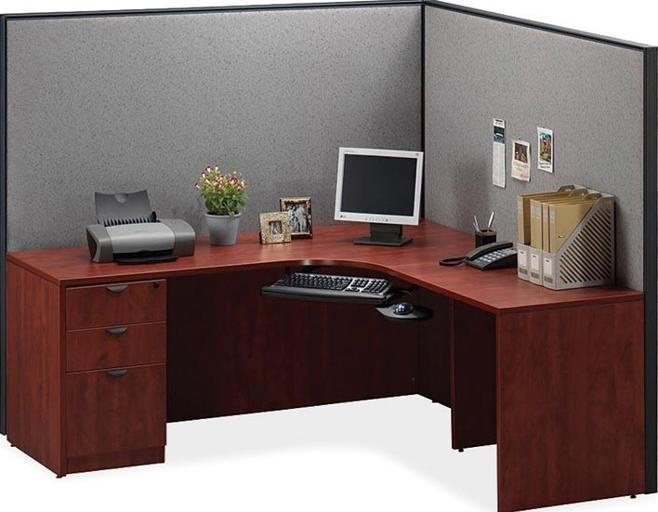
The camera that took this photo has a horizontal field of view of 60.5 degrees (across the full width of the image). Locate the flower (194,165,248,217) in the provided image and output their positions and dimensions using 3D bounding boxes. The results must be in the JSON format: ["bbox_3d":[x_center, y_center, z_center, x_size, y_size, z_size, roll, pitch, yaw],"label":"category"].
[{"bbox_3d":[-0.541,-0.343,3.033,0.218,0.227,0.221,-3,13,-8],"label":"flower"}]

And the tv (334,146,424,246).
[{"bbox_3d":[0.286,-0.345,3.181,0.499,0.520,0.185,4,14,19],"label":"tv"}]

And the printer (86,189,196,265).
[{"bbox_3d":[-0.950,-0.222,2.779,0.412,0.243,0.419,-4,15,-22],"label":"printer"}]

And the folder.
[{"bbox_3d":[0.986,-0.088,2.358,0.325,0.417,0.273,-2,6,-13],"label":"folder"}]
